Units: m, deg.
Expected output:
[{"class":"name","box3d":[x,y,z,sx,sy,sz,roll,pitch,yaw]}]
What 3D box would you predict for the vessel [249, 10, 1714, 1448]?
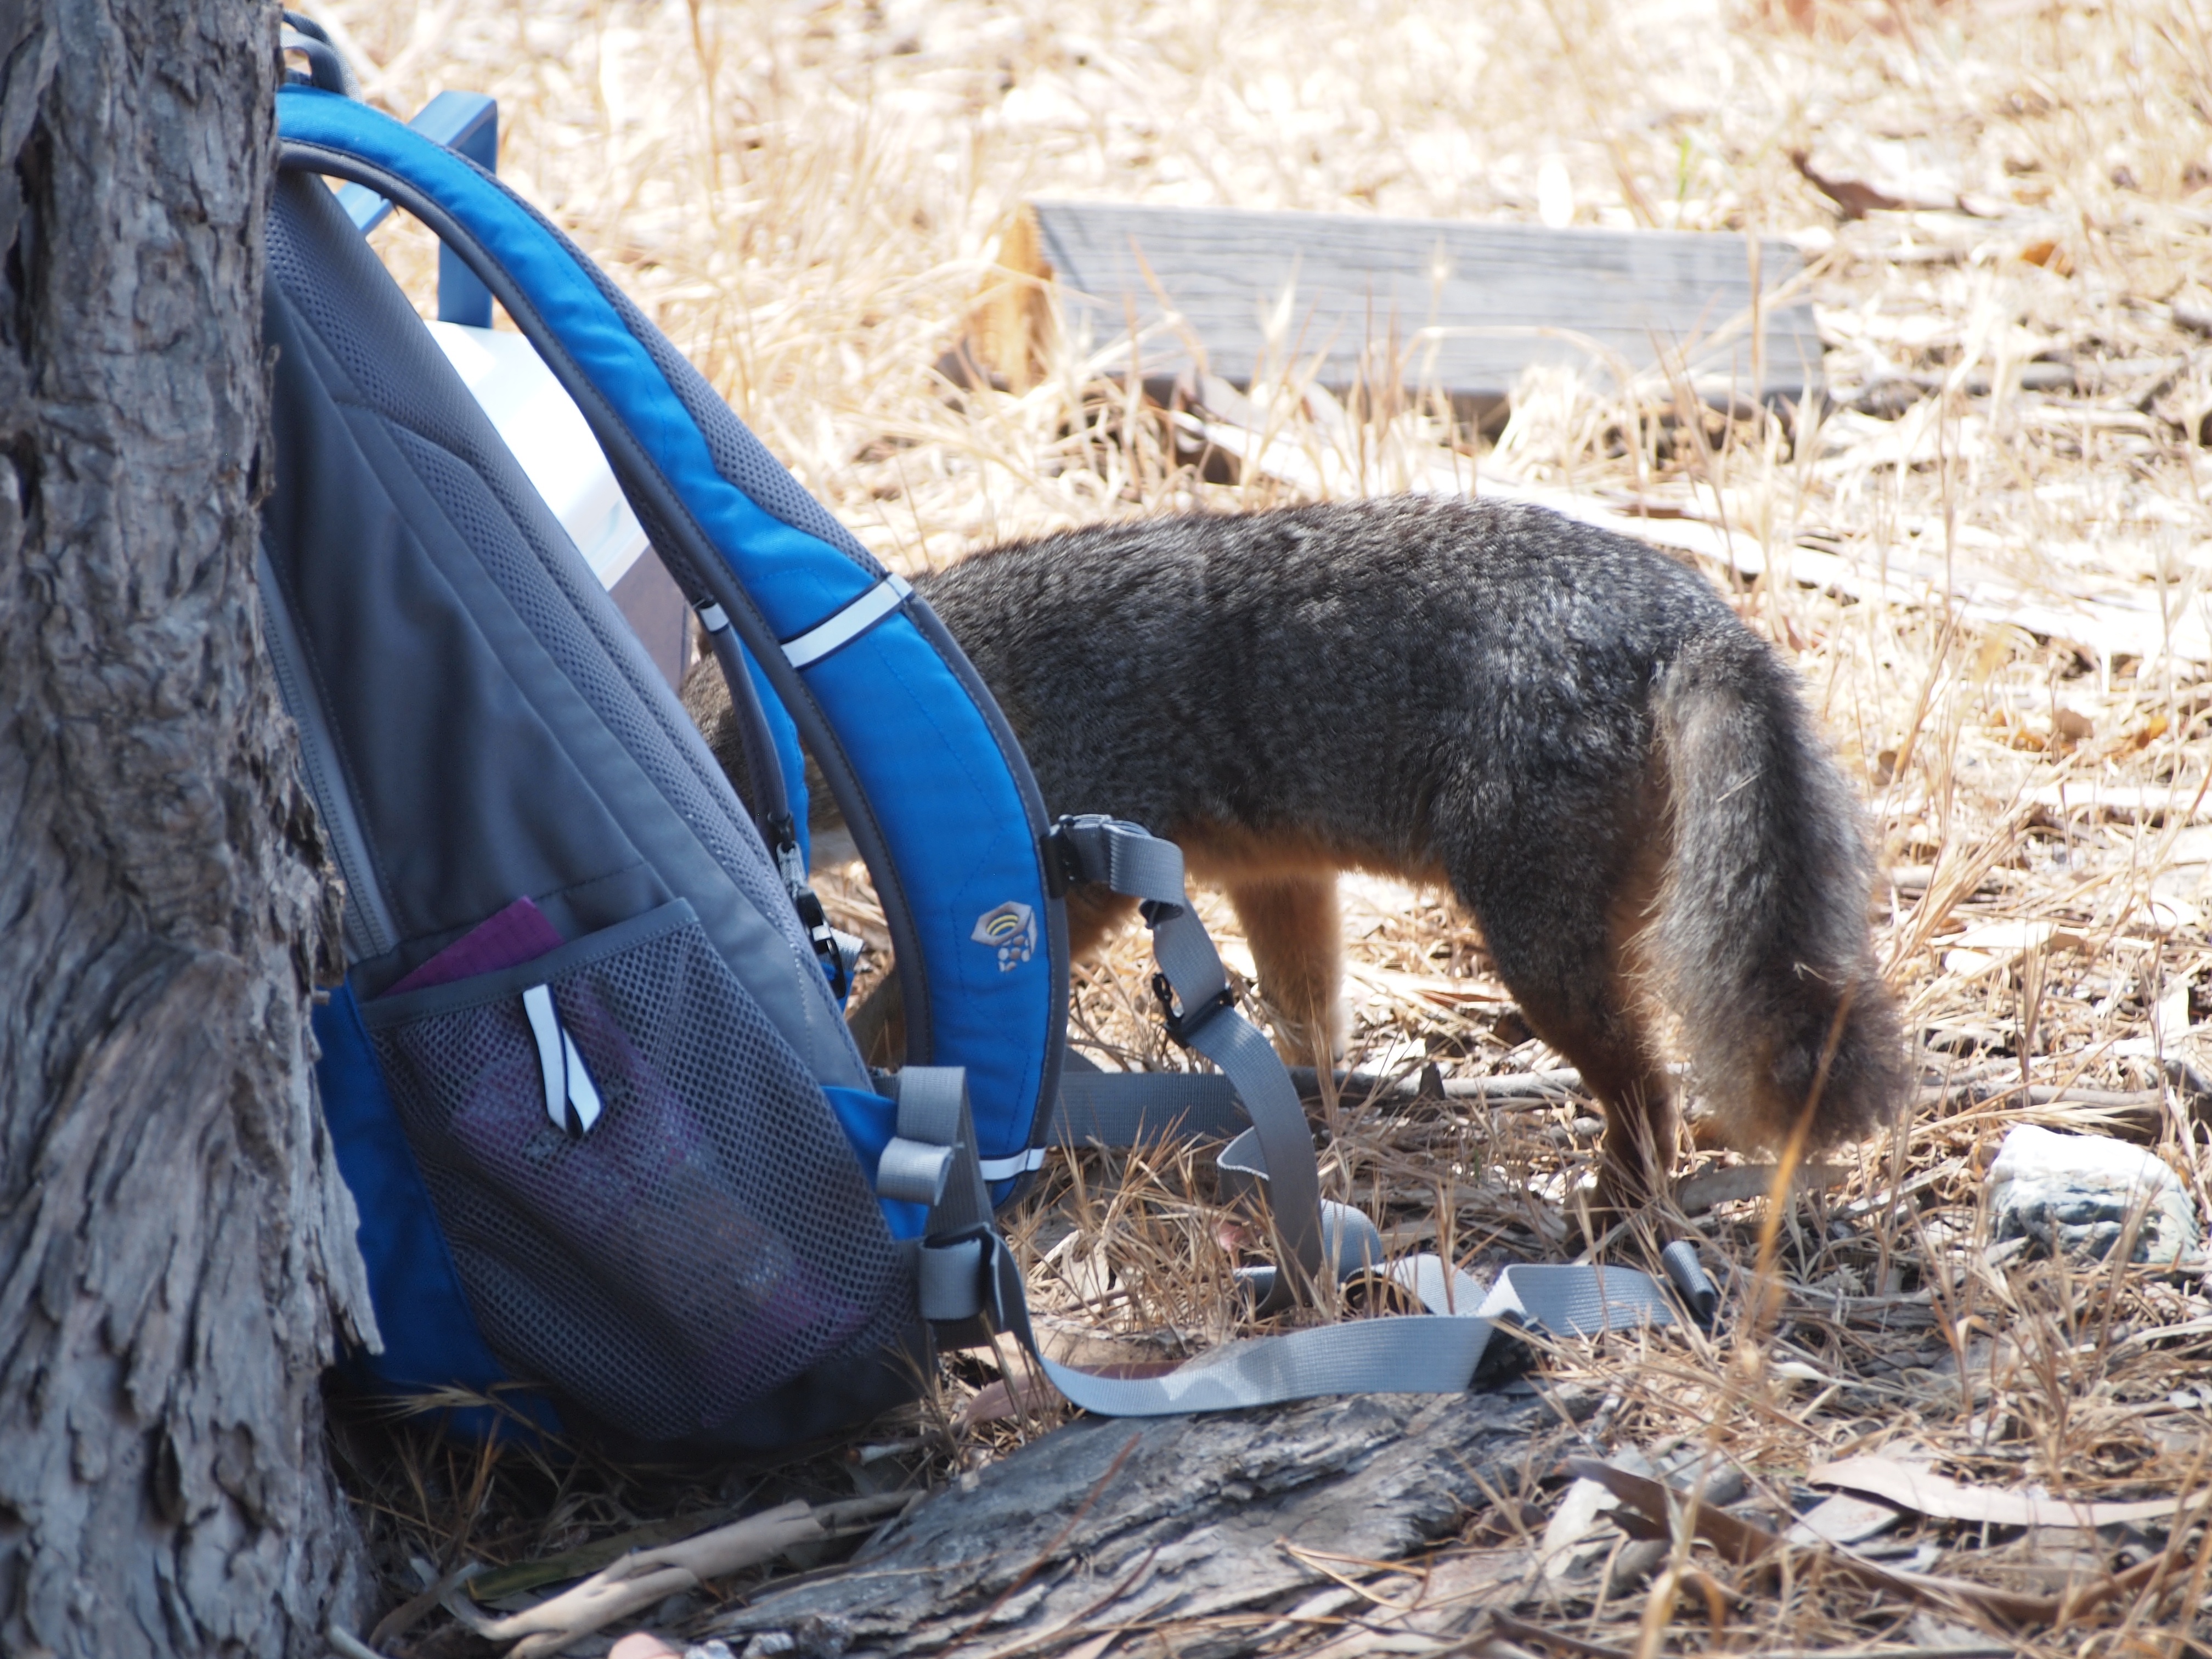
[{"class":"vessel","box3d":[-0.344,-0.201,4.403,1.835,2.309,1.494,-11,7,-1]}]
